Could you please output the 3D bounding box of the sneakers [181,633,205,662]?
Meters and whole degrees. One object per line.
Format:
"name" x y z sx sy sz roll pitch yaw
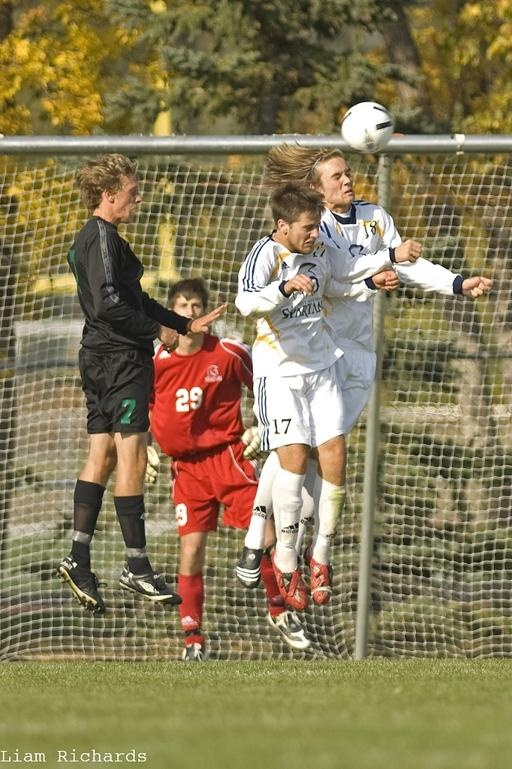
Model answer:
"sneakers" -0.292 1.268 5.334 0.093 0.125 0.139 1 -5 0

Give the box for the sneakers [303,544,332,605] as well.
"sneakers" 0.329 0.868 4.961 0.115 0.295 0.137 0 -16 -22

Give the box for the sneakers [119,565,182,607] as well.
"sneakers" -0.469 0.890 4.941 0.332 0.129 0.129 24 -5 0

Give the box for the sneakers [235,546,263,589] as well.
"sneakers" -0.020 0.812 4.938 0.113 0.178 0.087 5 -11 16

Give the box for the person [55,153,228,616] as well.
"person" -0.574 0.004 4.904 0.587 1.803 1.154 0 33 16

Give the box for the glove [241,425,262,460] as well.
"glove" -0.020 0.292 5.655 0.131 0.154 0.061 -5 -3 -5

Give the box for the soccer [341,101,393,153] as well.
"soccer" 0.508 -1.221 5.219 0.223 0.195 0.248 -19 18 0

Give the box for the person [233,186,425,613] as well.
"person" 0.248 0.035 4.823 0.592 1.725 1.042 5 34 23
